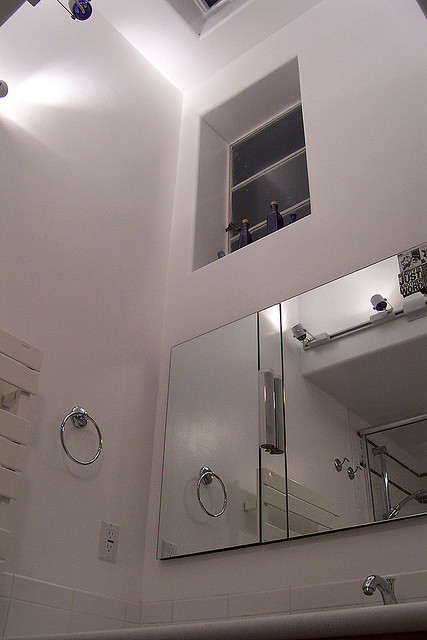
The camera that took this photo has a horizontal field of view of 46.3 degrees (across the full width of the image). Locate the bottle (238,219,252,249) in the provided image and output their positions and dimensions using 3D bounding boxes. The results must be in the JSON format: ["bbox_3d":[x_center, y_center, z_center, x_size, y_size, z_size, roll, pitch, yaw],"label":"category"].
[{"bbox_3d":[0.168,-0.448,2.570,0.064,0.215,0.091,1,-25,3],"label":"bottle"}]

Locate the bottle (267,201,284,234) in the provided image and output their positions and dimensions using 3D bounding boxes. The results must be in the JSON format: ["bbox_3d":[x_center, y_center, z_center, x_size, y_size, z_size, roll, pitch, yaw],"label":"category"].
[{"bbox_3d":[0.312,-0.524,2.500,0.081,0.270,0.114,-1,-26,7],"label":"bottle"}]

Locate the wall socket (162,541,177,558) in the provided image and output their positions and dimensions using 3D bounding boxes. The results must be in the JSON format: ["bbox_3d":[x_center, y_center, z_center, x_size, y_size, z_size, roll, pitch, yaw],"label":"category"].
[{"bbox_3d":[-0.151,0.797,1.727,0.046,0.056,0.007,-20,-45,18],"label":"wall socket"}]

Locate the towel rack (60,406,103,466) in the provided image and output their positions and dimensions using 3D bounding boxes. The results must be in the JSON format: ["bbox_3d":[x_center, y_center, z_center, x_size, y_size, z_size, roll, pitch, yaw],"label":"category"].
[{"bbox_3d":[-0.463,0.403,1.737,0.029,0.189,0.174,-15,-31,33],"label":"towel rack"}]

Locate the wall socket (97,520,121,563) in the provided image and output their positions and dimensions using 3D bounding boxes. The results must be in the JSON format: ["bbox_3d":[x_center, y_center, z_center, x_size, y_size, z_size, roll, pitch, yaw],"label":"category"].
[{"bbox_3d":[-0.356,0.756,1.688,0.010,0.126,0.104,-22,-39,25],"label":"wall socket"}]
